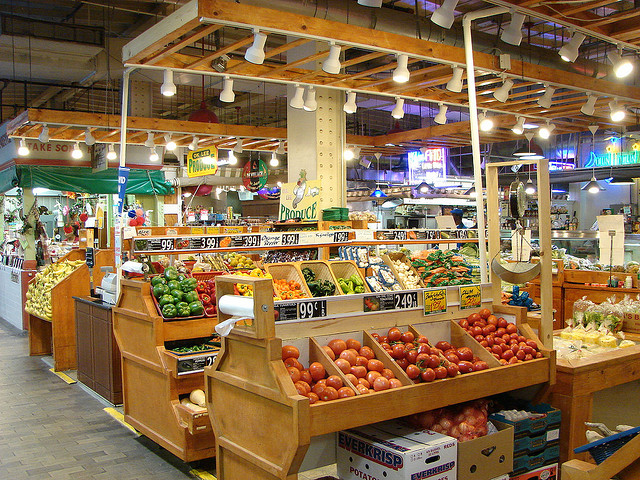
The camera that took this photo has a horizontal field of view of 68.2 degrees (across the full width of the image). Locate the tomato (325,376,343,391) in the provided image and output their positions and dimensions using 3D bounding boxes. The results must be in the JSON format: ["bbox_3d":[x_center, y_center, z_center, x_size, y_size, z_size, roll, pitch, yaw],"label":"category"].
[{"bbox_3d":[0.102,0.982,3.269,0.089,0.083,0.087,29,31,-8],"label":"tomato"}]

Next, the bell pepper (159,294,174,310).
[{"bbox_3d":[-1.635,0.638,5.011,0.131,0.131,0.128,-14,34,-42],"label":"bell pepper"}]

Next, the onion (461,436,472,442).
[{"bbox_3d":[1.110,1.507,3.588,0.057,0.027,0.055,-3,0,18],"label":"onion"}]

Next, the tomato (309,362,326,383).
[{"bbox_3d":[-0.018,0.950,3.391,0.126,0.136,0.120,-1,-5,-1],"label":"tomato"}]

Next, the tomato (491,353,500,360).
[{"bbox_3d":[1.494,0.985,3.999,0.051,0.060,0.088,-5,8,20],"label":"tomato"}]

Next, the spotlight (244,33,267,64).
[{"bbox_3d":[-0.690,-2.112,5.233,0.232,0.294,0.223,27,33,3],"label":"spotlight"}]

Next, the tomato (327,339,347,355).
[{"bbox_3d":[0.137,0.821,3.661,0.115,0.102,0.110,7,7,-21],"label":"tomato"}]

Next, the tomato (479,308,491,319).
[{"bbox_3d":[1.549,0.688,4.423,0.102,0.069,0.075,-8,-9,-35],"label":"tomato"}]

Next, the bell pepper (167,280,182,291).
[{"bbox_3d":[-1.597,0.505,5.199,0.111,0.124,0.107,-3,12,1],"label":"bell pepper"}]

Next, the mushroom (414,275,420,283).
[{"bbox_3d":[1.013,0.407,4.922,0.048,0.062,0.100,-6,8,16],"label":"mushroom"}]

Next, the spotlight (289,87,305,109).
[{"bbox_3d":[-0.333,-2.097,7.053,0.196,0.278,0.330,-9,8,-3],"label":"spotlight"}]

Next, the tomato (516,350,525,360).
[{"bbox_3d":[1.724,0.980,4.053,0.068,0.058,0.067,-26,21,-38],"label":"tomato"}]

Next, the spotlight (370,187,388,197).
[{"bbox_3d":[2.140,-1.704,16.769,0.397,0.191,0.379,1,0,-24],"label":"spotlight"}]

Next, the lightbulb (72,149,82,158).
[{"bbox_3d":[-5.474,-1.907,10.599,0.233,0.145,0.225,-2,-4,16],"label":"lightbulb"}]

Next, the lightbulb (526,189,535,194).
[{"bbox_3d":[5.010,-1.159,11.230,0.193,0.065,0.190,-1,0,26],"label":"lightbulb"}]

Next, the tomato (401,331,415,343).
[{"bbox_3d":[0.730,0.806,3.920,0.085,0.075,0.077,-2,6,1],"label":"tomato"}]

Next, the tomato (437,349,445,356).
[{"bbox_3d":[1.008,0.925,3.919,0.063,0.025,0.061,24,4,-13],"label":"tomato"}]

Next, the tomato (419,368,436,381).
[{"bbox_3d":[0.810,1.008,3.537,0.112,0.093,0.068,-8,8,2],"label":"tomato"}]

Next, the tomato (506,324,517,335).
[{"bbox_3d":[1.772,0.818,4.355,0.080,0.070,0.081,-1,-2,44],"label":"tomato"}]

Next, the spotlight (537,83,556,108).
[{"bbox_3d":[3.658,-2.311,7.615,0.211,0.373,0.488,-4,9,28],"label":"spotlight"}]

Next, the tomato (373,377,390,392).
[{"bbox_3d":[0.439,1.028,3.378,0.093,0.085,0.088,6,12,2],"label":"tomato"}]

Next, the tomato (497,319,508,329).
[{"bbox_3d":[1.713,0.776,4.396,0.111,0.068,0.080,-10,8,-16],"label":"tomato"}]

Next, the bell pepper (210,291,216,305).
[{"bbox_3d":[-1.208,0.658,5.291,0.044,0.112,0.079,-9,8,-1],"label":"bell pepper"}]

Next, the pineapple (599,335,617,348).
[{"bbox_3d":[2.949,1.032,4.826,0.111,0.067,0.111,-2,0,36],"label":"pineapple"}]

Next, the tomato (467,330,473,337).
[{"bbox_3d":[1.354,0.842,4.258,0.035,0.029,0.073,-5,-6,-41],"label":"tomato"}]

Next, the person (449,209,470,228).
[{"bbox_3d":[2.941,-0.423,10.048,0.197,0.463,0.957,-7,8,15],"label":"person"}]

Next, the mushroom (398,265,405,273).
[{"bbox_3d":[0.864,0.311,4.988,0.057,0.055,0.079,-6,8,13],"label":"mushroom"}]

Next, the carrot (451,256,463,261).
[{"bbox_3d":[1.519,0.211,5.185,0.104,0.021,0.057,-4,28,-34],"label":"carrot"}]

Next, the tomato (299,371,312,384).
[{"bbox_3d":[-0.102,0.968,3.324,0.075,0.067,0.071,0,2,0],"label":"tomato"}]

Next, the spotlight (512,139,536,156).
[{"bbox_3d":[5.138,-2.268,11.942,0.507,0.493,0.513,8,11,43],"label":"spotlight"}]

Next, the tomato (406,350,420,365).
[{"bbox_3d":[0.695,0.898,3.640,0.092,0.100,0.087,-1,23,-14],"label":"tomato"}]

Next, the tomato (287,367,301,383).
[{"bbox_3d":[-0.177,0.921,3.264,0.086,0.095,0.082,15,29,-3],"label":"tomato"}]

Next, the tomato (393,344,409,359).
[{"bbox_3d":[0.613,0.852,3.631,0.100,0.092,0.092,22,-41,-17],"label":"tomato"}]

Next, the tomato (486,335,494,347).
[{"bbox_3d":[1.494,0.892,4.143,0.079,0.090,0.076,-2,3,-9],"label":"tomato"}]

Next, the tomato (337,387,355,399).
[{"bbox_3d":[0.179,1.042,3.232,0.072,0.064,0.068,0,3,0],"label":"tomato"}]

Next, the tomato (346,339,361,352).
[{"bbox_3d":[0.266,0.829,3.737,0.110,0.087,0.114,-8,8,0],"label":"tomato"}]

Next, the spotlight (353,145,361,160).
[{"bbox_3d":[0.981,-2.401,12.944,0.163,0.375,0.683,-8,8,7],"label":"spotlight"}]

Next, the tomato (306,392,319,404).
[{"bbox_3d":[-0.046,1.050,3.136,0.058,0.051,0.054,1,3,-1],"label":"tomato"}]

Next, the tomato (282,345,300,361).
[{"bbox_3d":[-0.208,0.812,3.421,0.106,0.101,0.096,-8,-28,-2],"label":"tomato"}]

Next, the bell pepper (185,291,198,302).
[{"bbox_3d":[-1.388,0.611,5.167,0.100,0.104,0.110,15,9,10],"label":"bell pepper"}]

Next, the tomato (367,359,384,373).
[{"bbox_3d":[0.425,0.935,3.542,0.093,0.077,0.087,3,2,-13],"label":"tomato"}]

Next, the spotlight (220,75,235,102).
[{"bbox_3d":[-1.275,-2.036,6.474,0.185,0.318,0.495,-10,8,-8],"label":"spotlight"}]

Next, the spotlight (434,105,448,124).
[{"bbox_3d":[2.000,-2.064,7.792,0.178,0.323,0.643,-6,8,17],"label":"spotlight"}]

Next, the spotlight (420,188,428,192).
[{"bbox_3d":[3.431,-1.627,15.471,0.214,0.149,0.276,-4,9,27],"label":"spotlight"}]

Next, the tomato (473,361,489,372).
[{"bbox_3d":[1.326,1.023,3.869,0.077,0.068,0.078,-2,10,36],"label":"tomato"}]

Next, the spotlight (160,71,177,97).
[{"bbox_3d":[-1.986,-2.043,6.142,0.166,0.324,0.290,-10,8,-11],"label":"spotlight"}]

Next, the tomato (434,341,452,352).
[{"bbox_3d":[1.058,0.906,4.055,0.126,0.048,0.163,-9,8,-14],"label":"tomato"}]

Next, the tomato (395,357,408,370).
[{"bbox_3d":[0.634,0.931,3.646,0.082,0.091,0.080,-25,35,-34],"label":"tomato"}]

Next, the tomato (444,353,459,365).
[{"bbox_3d":[1.074,0.960,3.810,0.072,0.067,0.072,6,3,19],"label":"tomato"}]

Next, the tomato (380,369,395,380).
[{"bbox_3d":[0.505,0.996,3.514,0.081,0.062,0.063,14,-25,7],"label":"tomato"}]

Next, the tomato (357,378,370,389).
[{"bbox_3d":[0.314,1.032,3.390,0.076,0.077,0.099,-7,8,9],"label":"tomato"}]

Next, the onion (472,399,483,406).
[{"bbox_3d":[1.290,1.321,3.841,0.052,0.044,0.040,2,-4,43],"label":"onion"}]

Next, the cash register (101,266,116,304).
[{"bbox_3d":[-2.779,0.649,6.245,0.167,0.291,0.646,-13,9,-29],"label":"cash register"}]
